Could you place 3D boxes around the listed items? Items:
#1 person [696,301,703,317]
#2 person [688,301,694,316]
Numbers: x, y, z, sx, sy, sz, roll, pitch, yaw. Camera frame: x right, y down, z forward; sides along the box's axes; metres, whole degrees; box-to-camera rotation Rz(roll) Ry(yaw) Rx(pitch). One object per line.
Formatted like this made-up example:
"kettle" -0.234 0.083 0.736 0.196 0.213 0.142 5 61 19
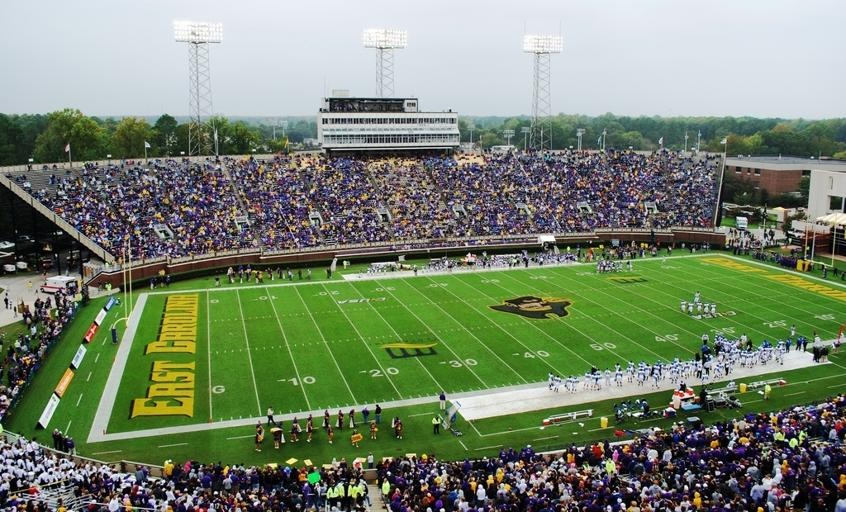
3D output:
"person" 22.384 4.347 72.078 0.625 0.370 1.044 -3 45 14
"person" 21.650 4.275 72.173 0.375 0.259 1.011 4 31 13
